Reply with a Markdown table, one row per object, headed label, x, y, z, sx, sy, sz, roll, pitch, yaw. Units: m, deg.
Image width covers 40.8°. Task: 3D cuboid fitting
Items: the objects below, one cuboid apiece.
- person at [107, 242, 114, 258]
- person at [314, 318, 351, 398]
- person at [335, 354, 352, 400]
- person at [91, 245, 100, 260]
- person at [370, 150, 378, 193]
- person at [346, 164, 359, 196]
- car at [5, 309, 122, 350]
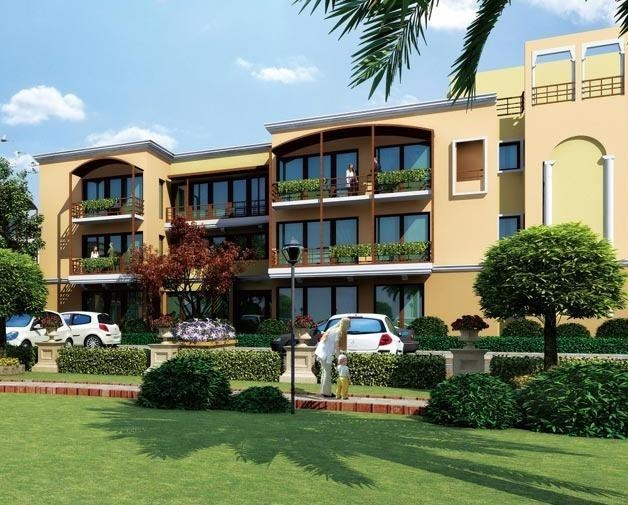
| label | x | y | z | sx | sy | sz | roll | pitch | yaw |
| --- | --- | --- | --- | --- | --- | --- | --- | --- | --- |
| person | -9.771 | -0.083 | 40.651 | 0.227 | 0.784 | 1.244 | 3 | -6 | -16 |
| person | 0.428 | 2.589 | 20.761 | 0.762 | 1.915 | 0.719 | 3 | -3 | 3 |
| person | 0.689 | 3.002 | 20.479 | 0.316 | 1.086 | 0.756 | 1 | -6 | 1 |
| person | -10.607 | -0.018 | 40.984 | 0.462 | 0.805 | 1.757 | 3 | -6 | -15 |
| person | 2.558 | -3.345 | 35.486 | 0.290 | 1.568 | 0.820 | 1 | -6 | 8 |
| person | 1.609 | -3.133 | 36.341 | 0.476 | 1.298 | 0.561 | 1 | -6 | 5 |
| car | -9.585 | 2.789 | 31.370 | 3.689 | 1.313 | 4.101 | 1 | -6 | 7 |
